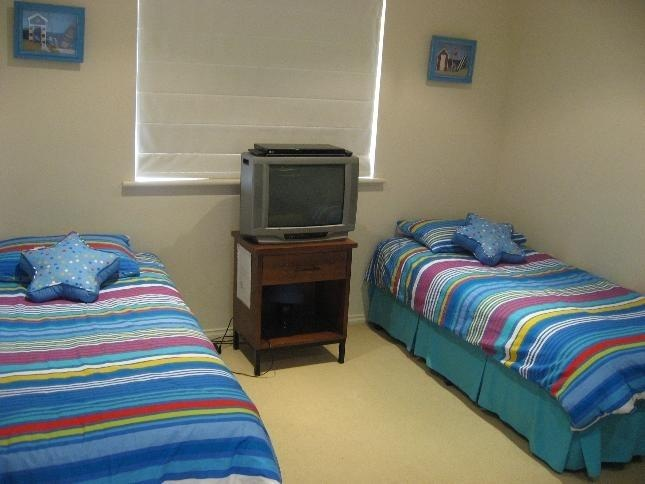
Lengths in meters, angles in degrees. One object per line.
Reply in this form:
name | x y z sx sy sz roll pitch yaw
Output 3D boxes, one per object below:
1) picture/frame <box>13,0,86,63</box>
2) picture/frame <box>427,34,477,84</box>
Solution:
picture/frame | -1.700 -1.301 3.038 0.374 0.332 0.040 -4 17 -18
picture/frame | 1.030 -1.486 3.994 0.389 0.356 0.046 2 14 -22
